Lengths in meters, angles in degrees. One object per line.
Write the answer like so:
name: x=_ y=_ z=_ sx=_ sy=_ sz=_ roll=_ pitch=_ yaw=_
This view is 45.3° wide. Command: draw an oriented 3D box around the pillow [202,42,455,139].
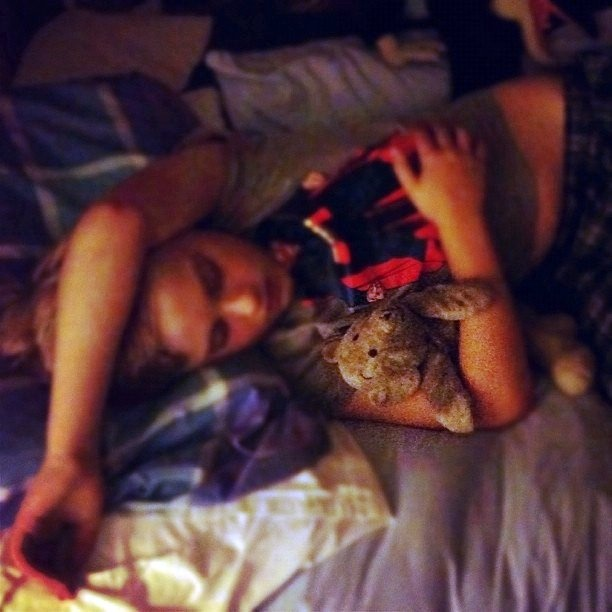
pillow: x=0.038 y=-0.416 z=1.497 sx=0.556 sy=0.233 sz=0.122 roll=5 pitch=82 yaw=9

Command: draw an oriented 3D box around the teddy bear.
teddy bear: x=0.266 y=0.077 z=1.271 sx=0.479 sy=0.142 sz=0.246 roll=-5 pitch=76 yaw=-2
